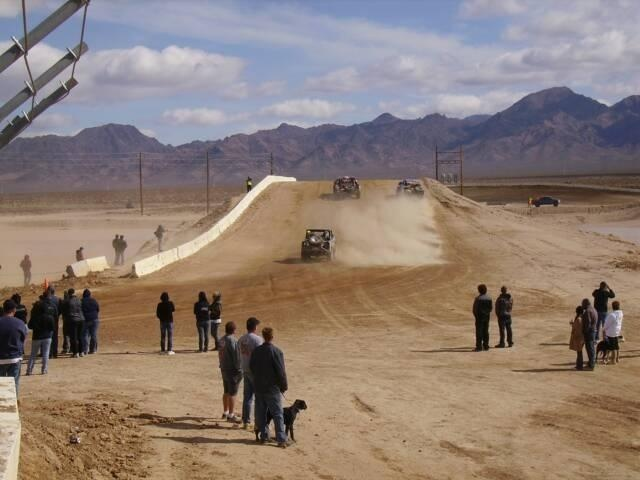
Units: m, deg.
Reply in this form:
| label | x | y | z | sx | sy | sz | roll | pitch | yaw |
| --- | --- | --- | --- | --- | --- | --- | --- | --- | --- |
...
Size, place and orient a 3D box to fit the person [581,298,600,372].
| label | x | y | z | sx | sy | sz | roll | pitch | yaw |
| --- | --- | --- | --- | --- | --- | --- | --- | --- | --- |
| person | 7.971 | 2.787 | 25.920 | 0.339 | 2.175 | 0.731 | 9 | 15 | 43 |

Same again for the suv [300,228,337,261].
| label | x | y | z | sx | sy | sz | roll | pitch | yaw |
| --- | --- | --- | --- | --- | --- | --- | --- | --- | --- |
| suv | -0.071 | 0.349 | 45.317 | 1.716 | 1.654 | 3.349 | -1 | 1 | 4 |

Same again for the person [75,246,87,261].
| label | x | y | z | sx | sy | sz | roll | pitch | yaw |
| --- | --- | --- | --- | --- | --- | --- | --- | --- | --- |
| person | -14.140 | 0.881 | 51.783 | 0.354 | 1.280 | 0.605 | -6 | 16 | -32 |

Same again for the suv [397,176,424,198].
| label | x | y | z | sx | sy | sz | roll | pitch | yaw |
| --- | --- | --- | --- | --- | --- | --- | --- | --- | --- |
| suv | 6.397 | -3.669 | 62.618 | 1.263 | 0.949 | 2.067 | 1 | 6 | -1 |
